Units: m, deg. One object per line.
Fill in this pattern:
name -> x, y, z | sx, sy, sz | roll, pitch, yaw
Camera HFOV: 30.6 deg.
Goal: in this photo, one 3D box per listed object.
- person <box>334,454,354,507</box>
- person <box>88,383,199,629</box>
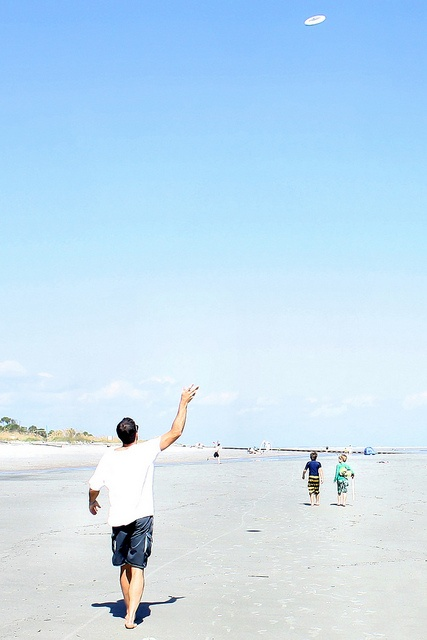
person -> 4.016, 4.889, 23.976 | 0.506, 1.533, 2.068 | 0, -7, 10
person -> -0.816, 1.938, 8.185 | 1.076, 2.445, 0.646 | 1, -7, 4
